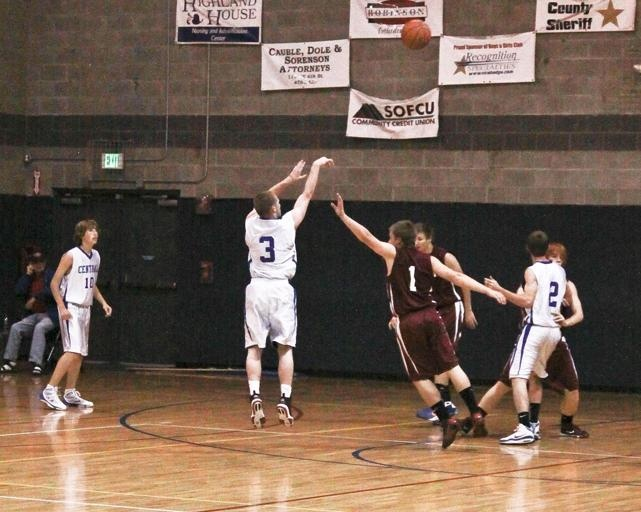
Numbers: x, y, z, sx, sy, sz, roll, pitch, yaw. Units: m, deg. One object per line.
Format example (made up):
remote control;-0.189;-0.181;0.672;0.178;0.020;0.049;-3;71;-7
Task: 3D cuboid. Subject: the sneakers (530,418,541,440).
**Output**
sneakers;2.144;1.757;9.437;0.102;0.148;0.332;-1;-18;10

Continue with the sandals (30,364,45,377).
sandals;-4.132;1.656;13.613;0.107;0.148;0.331;1;-13;-10

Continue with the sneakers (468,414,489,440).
sneakers;1.543;1.637;9.139;0.115;0.295;0.133;-2;33;2

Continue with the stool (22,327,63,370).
stool;-4.165;1.391;14.140;0.600;0.921;0.497;2;-6;-10

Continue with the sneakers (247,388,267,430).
sneakers;-0.598;1.555;9.052;0.137;0.405;0.172;-13;47;-10

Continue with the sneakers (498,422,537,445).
sneakers;1.915;1.716;9.100;0.419;0.216;0.158;-2;-1;-7

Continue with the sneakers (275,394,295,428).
sneakers;-0.380;1.559;9.133;0.148;0.270;0.377;0;-40;17

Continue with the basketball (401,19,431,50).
basketball;1.304;-3.062;12.935;0.353;0.416;0.279;0;2;-23

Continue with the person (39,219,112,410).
person;-2.929;0.662;11.283;0.744;2.192;1.417;0;2;-13

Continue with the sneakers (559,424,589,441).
sneakers;2.577;1.802;9.609;0.319;0.158;0.120;-5;-3;30

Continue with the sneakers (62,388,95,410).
sneakers;-2.864;1.656;11.004;0.459;0.238;0.166;7;2;7
